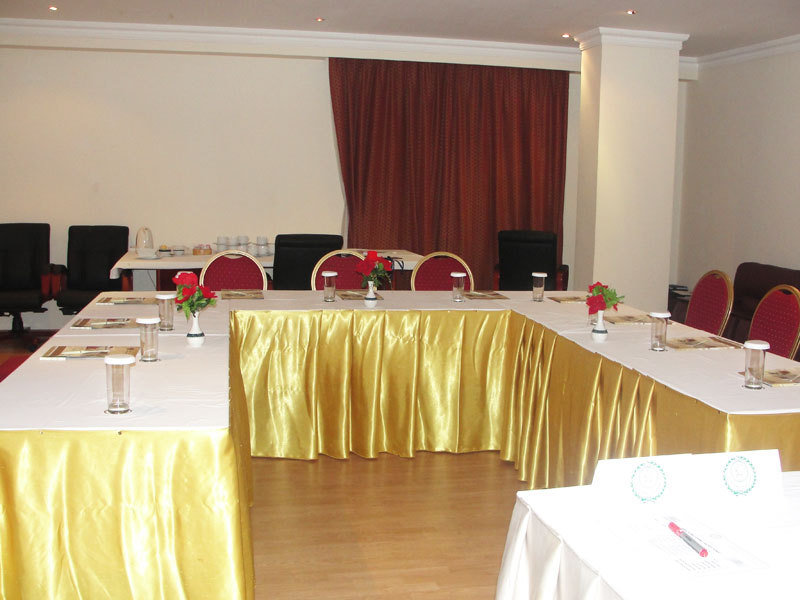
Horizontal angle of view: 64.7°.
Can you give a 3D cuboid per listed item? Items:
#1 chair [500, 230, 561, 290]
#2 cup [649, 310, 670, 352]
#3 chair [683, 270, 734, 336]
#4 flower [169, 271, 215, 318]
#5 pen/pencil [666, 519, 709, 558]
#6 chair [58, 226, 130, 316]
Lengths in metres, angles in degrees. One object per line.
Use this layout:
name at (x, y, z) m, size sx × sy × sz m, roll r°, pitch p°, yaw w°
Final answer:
chair at (1.275, -0.468, 6.636) m, size 0.522 × 0.899 × 0.579 m, roll 1°, pitch 7°, yaw 5°
cup at (1.259, 0.145, 3.049) m, size 0.119 × 0.163 × 0.131 m, roll 4°, pitch -1°, yaw 0°
chair at (2.005, 0.137, 4.108) m, size 0.244 × 0.507 × 0.277 m, roll 17°, pitch -1°, yaw 29°
flower at (-0.992, 0.001, 3.063) m, size 0.171 × 0.198 × 0.202 m, roll -10°, pitch -1°, yaw 38°
pen/pencil at (0.675, 0.554, 1.493) m, size 0.025 × 0.025 × 0.131 m, roll 8°, pitch 13°, yaw -18°
chair at (-3.018, -0.235, 6.240) m, size 0.614 × 1.102 × 0.568 m, roll -1°, pitch -5°, yaw -13°
